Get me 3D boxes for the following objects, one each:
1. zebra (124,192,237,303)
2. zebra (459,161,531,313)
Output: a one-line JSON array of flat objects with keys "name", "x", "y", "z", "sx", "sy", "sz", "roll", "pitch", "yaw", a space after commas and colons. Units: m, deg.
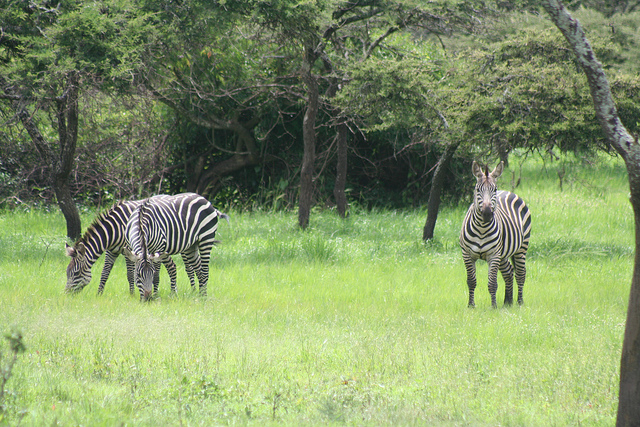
[{"name": "zebra", "x": -4.038, "y": 0.812, "z": 26.704, "sx": 1.156, "sy": 2.857, "sz": 4.423, "roll": 7, "pitch": 11, "yaw": 32}, {"name": "zebra", "x": 4.563, "y": 0.585, "z": 26.000, "sx": 1.887, "sy": 3.883, "sz": 0.943, "roll": 0, "pitch": 2, "yaw": -44}]
